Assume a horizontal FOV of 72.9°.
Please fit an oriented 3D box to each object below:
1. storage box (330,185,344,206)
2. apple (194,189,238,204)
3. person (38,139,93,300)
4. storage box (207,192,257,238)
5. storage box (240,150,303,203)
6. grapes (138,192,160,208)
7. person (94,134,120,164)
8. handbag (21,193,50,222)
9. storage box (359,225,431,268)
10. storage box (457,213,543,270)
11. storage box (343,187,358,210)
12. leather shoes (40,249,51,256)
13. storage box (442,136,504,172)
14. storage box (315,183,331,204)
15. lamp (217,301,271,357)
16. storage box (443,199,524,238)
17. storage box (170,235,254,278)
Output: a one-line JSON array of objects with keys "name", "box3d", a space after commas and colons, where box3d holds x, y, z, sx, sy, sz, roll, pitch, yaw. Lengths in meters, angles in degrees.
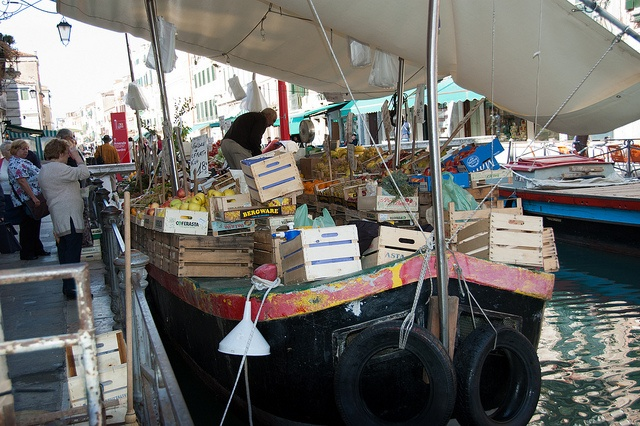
[{"name": "storage box", "box3d": [0.275, -0.273, 6.812, 0.234, 0.346, 0.196, 8, 20, 26]}, {"name": "apple", "box3d": [-1.415, -0.232, 5.680, 0.306, 0.129, 0.296, -10, 18, -14]}, {"name": "person", "box3d": [-4.000, -0.153, 6.811, 0.676, 1.954, 0.405, -4, 13, -30]}, {"name": "storage box", "box3d": [-1.117, 0.017, 5.352, 0.501, 0.530, 0.418, 2, -4, -44]}, {"name": "storage box", "box3d": [-0.644, -0.569, 5.504, 0.663, 0.677, 0.548, -12, 14, -17]}, {"name": "grapes", "box3d": [-3.063, -0.241, 7.816, 0.342, 0.208, 0.396, -7, 16, -7]}, {"name": "person", "box3d": [-7.029, -2.072, 14.278, 0.673, 1.027, 1.337, -3, 14, -29]}, {"name": "handbag", "box3d": [-5.370, -0.119, 8.146, 0.173, 0.417, 0.426, -16, 14, 22]}, {"name": "storage box", "box3d": [0.808, 0.299, 4.650, 0.509, 0.335, 0.513, -10, 11, -33]}, {"name": "storage box", "box3d": [1.993, 0.248, 4.710, 0.578, 0.516, 0.821, -1, 2, 1]}, {"name": "storage box", "box3d": [0.461, -0.214, 6.455, 0.204, 0.316, 0.100, -6, -13, 35]}, {"name": "leather shoes", "box3d": [-6.206, 0.910, 9.770, 0.314, 0.144, 0.108, -9, -6, 34]}, {"name": "storage box", "box3d": [2.365, -0.834, 6.630, 0.727, 0.295, 0.535, -23, 8, 4]}, {"name": "storage box", "box3d": [0.040, -0.328, 7.397, 0.275, 0.292, 0.397, 4, 9, -7]}, {"name": "lamp", "box3d": [-0.674, 1.082, 4.062, 0.404, 0.459, 0.431, 0, -8, 7]}, {"name": "storage box", "box3d": [2.055, 0.027, 5.322, 0.981, 0.410, 0.568, -8, 8, -18]}, {"name": "storage box", "box3d": [-1.302, 0.533, 5.291, 0.531, 0.430, 0.772, -1, 1, -32]}]
